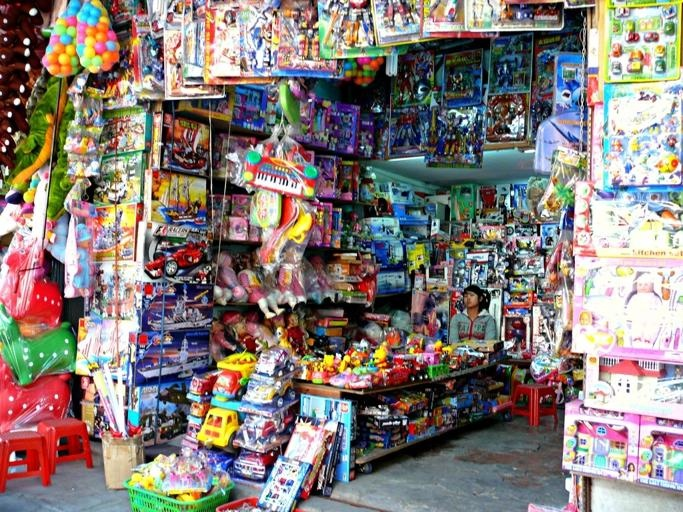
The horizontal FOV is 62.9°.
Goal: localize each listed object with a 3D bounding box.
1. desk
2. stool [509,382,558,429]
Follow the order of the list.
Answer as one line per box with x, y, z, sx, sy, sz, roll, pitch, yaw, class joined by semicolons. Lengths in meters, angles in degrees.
0.719;1.459;5.241;0.513;0.753;2.481;-1;-2;45;desk
2.206;1.713;6.422;0.471;0.445;0.560;0;-5;8;stool
